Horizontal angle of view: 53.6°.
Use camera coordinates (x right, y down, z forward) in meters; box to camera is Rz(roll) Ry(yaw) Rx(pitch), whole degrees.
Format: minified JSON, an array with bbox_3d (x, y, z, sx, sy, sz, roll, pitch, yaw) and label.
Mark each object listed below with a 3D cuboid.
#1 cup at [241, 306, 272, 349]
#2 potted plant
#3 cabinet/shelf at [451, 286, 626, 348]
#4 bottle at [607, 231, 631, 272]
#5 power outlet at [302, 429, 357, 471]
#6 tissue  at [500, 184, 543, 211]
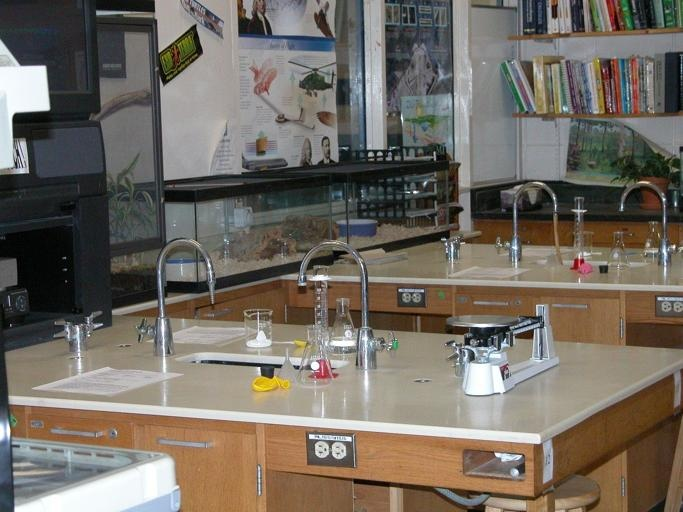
[{"bbox_3d":[-0.353,0.321,2.971,0.137,0.164,0.152,-1,2,-1],"label":"cup"},{"bbox_3d":[2.881,-0.770,6.502,0.759,0.694,0.736,-4,5,-45],"label":"potted plant"},{"bbox_3d":[1.136,0.347,3.887,0.927,0.297,0.110,1,9,18],"label":"cabinet/shelf"},{"bbox_3d":[1.736,-0.035,4.201,0.109,0.216,0.220,3,10,29],"label":"bottle"},{"bbox_3d":[-0.026,0.575,2.016,0.129,0.096,0.018,1,3,27],"label":"power outlet"},{"bbox_3d":[1.755,-0.560,6.655,0.245,0.183,0.364,5,10,32],"label":"tissue "}]
